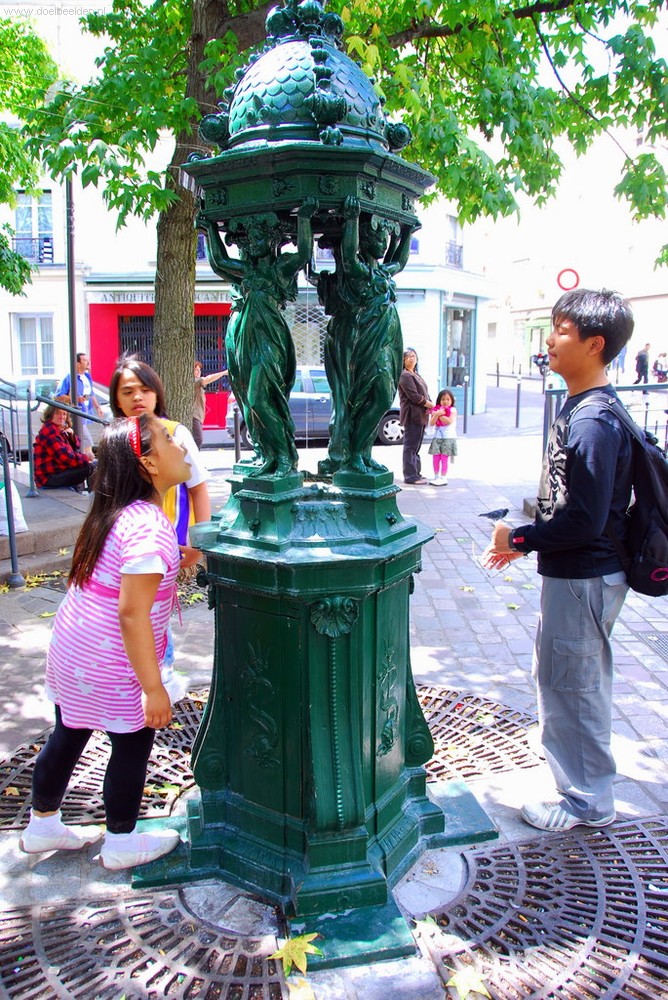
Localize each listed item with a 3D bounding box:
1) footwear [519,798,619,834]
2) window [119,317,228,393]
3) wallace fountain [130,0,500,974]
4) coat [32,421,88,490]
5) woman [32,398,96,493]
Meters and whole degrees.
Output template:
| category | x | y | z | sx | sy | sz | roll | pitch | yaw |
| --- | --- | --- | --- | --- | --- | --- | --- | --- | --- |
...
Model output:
| category | x | y | z | sx | sy | sz | roll | pitch | yaw |
| --- | --- | --- | --- | --- | --- | --- | --- | --- | --- |
| footwear | 0.846 | 1.149 | 2.803 | 0.327 | 0.148 | 0.124 | 3 | 3 | 2 |
| window | -4.202 | -3.793 | 19.992 | 2.839 | 2.113 | 0.203 | -2 | -12 | -11 |
| wallace fountain | -0.104 | -0.150 | 2.387 | 0.945 | 2.782 | 0.966 | 3 | 9 | 10 |
| coat | -3.071 | -0.511 | 8.786 | 0.612 | 0.780 | 0.746 | 2 | 5 | 38 |
| woman | -3.026 | -0.651 | 8.825 | 0.869 | 1.026 | 0.588 | -6 | 4 | -19 |
